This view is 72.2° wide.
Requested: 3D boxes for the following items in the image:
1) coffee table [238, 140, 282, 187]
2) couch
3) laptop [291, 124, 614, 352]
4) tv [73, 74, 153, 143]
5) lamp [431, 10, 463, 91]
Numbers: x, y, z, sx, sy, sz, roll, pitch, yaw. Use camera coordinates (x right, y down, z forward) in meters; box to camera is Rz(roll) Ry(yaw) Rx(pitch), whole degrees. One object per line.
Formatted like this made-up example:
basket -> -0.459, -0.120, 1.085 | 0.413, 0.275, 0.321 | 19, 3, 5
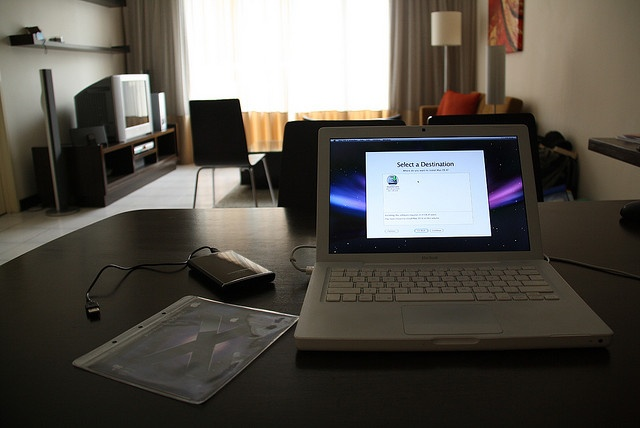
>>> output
coffee table -> -0.584, -0.500, 4.346 | 0.416, 0.547, 0.574 | 1, 24, 4
couch -> 1.700, -1.166, 4.909 | 0.923, 0.332, 2.206 | 0, 16, 7
laptop -> 0.233, 0.033, 0.876 | 0.504, 0.300, 0.471 | -1, 25, 1
tv -> -2.426, -1.214, 5.070 | 0.479, 0.699, 0.885 | 3, 18, 3
lamp -> 1.700, -2.171, 5.862 | 0.391, 1.026, 0.962 | 3, 17, 15
